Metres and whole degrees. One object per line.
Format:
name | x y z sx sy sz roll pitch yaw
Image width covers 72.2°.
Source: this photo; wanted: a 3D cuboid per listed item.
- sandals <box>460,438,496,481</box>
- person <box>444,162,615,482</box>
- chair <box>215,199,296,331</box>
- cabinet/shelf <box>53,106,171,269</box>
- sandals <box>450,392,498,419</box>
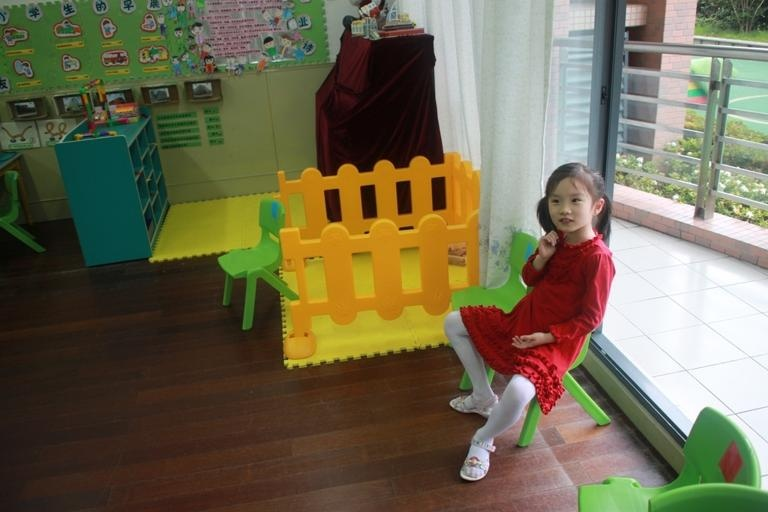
sandals | 0.441 0.939 2.489 0.109 0.087 0.224 4 44 29
person | 0.694 0.275 2.448 0.803 1.326 0.614 -5 24 -1
chair | -0.868 0.021 3.520 0.510 0.744 0.744 -15 26 -21
cabinet/shelf | -2.296 -0.600 4.533 0.535 1.033 0.922 -8 25 -6
sandals | 0.449 0.769 2.730 0.244 0.104 0.114 13 26 33
